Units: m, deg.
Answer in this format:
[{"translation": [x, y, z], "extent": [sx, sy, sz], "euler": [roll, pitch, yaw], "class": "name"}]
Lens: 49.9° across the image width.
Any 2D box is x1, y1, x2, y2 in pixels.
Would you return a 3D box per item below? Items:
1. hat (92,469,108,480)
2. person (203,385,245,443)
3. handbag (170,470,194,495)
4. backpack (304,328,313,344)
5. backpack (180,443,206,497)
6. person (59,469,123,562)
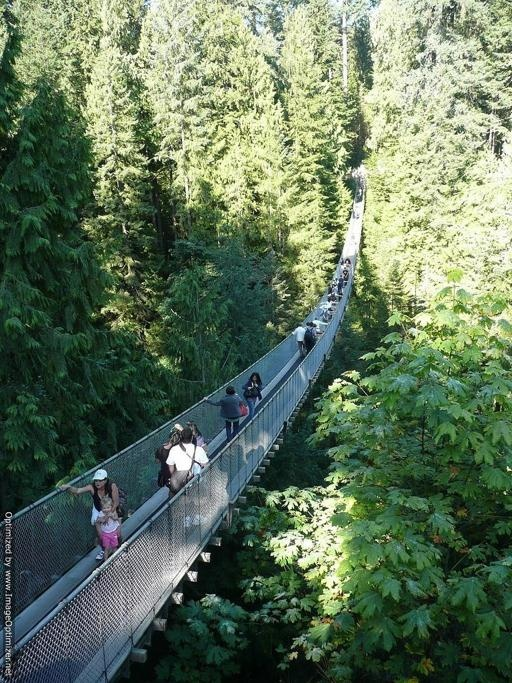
[{"translation": [-1.388, 1.180, 4.910], "extent": [0.095, 0.075, 0.137], "euler": [2, -7, 2], "class": "hat"}, {"translation": [-0.418, 1.156, 8.374], "extent": [0.364, 0.927, 0.693], "euler": [2, 9, 10], "class": "person"}, {"translation": [-0.756, 1.425, 5.571], "extent": [0.170, 0.245, 0.130], "euler": [30, 0, 37], "class": "handbag"}, {"translation": [1.454, -0.124, 15.336], "extent": [0.209, 0.452, 0.390], "euler": [3, 9, 13], "class": "backpack"}, {"translation": [-0.633, 1.319, 5.766], "extent": [0.240, 0.372, 0.369], "euler": [12, 35, 6], "class": "backpack"}, {"translation": [-1.461, 1.557, 4.884], "extent": [0.514, 0.808, 0.255], "euler": [-2, 4, -34], "class": "person"}]
